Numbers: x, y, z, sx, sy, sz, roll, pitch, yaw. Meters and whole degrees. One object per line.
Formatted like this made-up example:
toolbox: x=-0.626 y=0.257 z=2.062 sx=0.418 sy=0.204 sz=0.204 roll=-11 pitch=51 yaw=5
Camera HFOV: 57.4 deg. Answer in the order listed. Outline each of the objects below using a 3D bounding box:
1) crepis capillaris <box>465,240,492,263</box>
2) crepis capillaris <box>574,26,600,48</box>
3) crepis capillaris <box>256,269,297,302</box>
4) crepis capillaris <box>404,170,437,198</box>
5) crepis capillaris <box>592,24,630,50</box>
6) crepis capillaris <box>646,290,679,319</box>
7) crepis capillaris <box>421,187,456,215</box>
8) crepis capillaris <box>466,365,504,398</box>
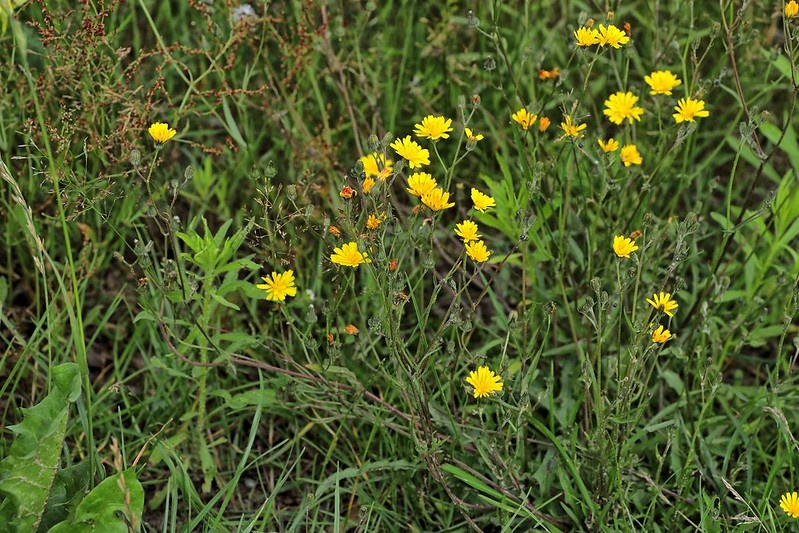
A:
crepis capillaris: x=0.251 y=-0.061 z=2.360 sx=0.066 sy=0.037 sz=0.083 roll=7 pitch=62 yaw=-3
crepis capillaris: x=0.634 y=-0.780 z=2.484 sx=0.071 sy=0.043 sz=0.092 roll=-5 pitch=70 yaw=-6
crepis capillaris: x=-0.399 y=0.066 z=2.499 sx=0.112 sy=0.047 sz=0.143 roll=9 pitch=74 yaw=4
crepis capillaris: x=0.069 y=-0.279 z=2.378 sx=0.083 sy=0.042 sz=0.098 roll=-23 pitch=73 yaw=-3
crepis capillaris: x=0.713 y=-0.779 z=2.482 sx=0.108 sy=0.044 sz=0.115 roll=14 pitch=23 yaw=-40
crepis capillaris: x=0.912 y=0.131 z=2.540 sx=0.084 sy=0.027 sz=0.100 roll=16 pitch=49 yaw=11
crepis capillaris: x=0.124 y=-0.216 z=2.345 sx=0.075 sy=0.041 sz=0.092 roll=13 pitch=90 yaw=1
crepis capillaris: x=0.279 y=0.383 z=2.384 sx=0.096 sy=0.049 sz=0.115 roll=23 pitch=73 yaw=2
